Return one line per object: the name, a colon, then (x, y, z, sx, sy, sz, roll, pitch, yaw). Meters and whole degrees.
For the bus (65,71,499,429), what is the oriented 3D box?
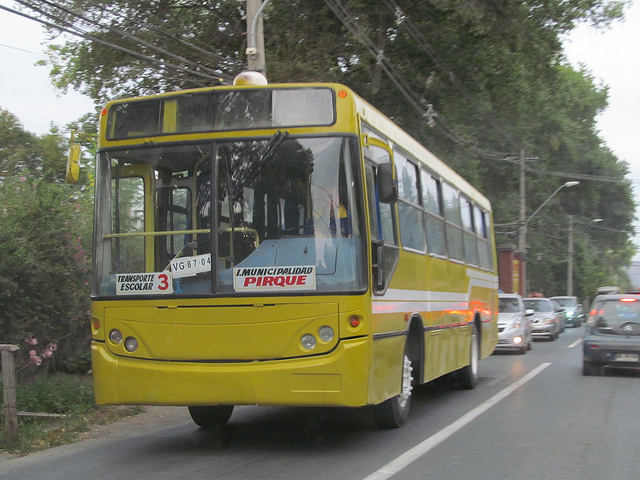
bus: (0.498, 0.631, 11.917, 3.806, 4.248, 11.703, -3, -5, 17)

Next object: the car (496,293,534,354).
car: (7.259, 2.969, 20.756, 1.798, 1.572, 3.315, -3, -10, 15)
